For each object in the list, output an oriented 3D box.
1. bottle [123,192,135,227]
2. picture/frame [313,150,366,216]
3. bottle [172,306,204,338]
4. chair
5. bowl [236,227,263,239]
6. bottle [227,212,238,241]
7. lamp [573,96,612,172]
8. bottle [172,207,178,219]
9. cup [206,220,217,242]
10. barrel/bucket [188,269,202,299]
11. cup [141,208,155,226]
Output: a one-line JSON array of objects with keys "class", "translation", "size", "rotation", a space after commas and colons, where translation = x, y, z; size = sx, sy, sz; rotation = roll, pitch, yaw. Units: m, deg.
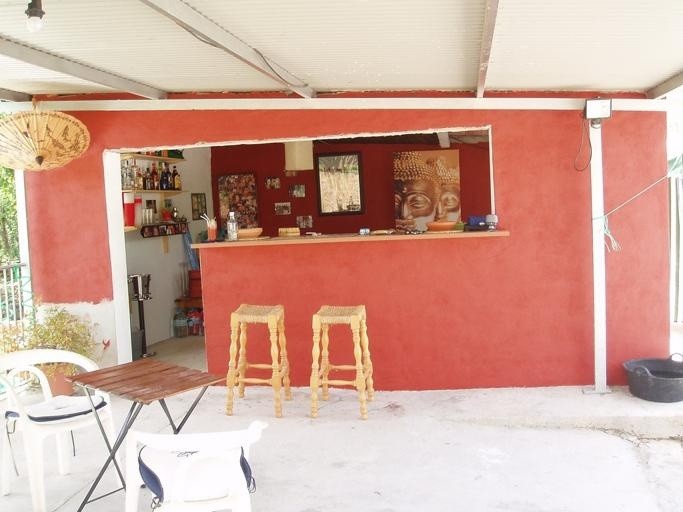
[{"class": "bottle", "translation": [-2.641, -0.599, 7.156], "size": [0.136, 0.388, 0.649], "rotation": [-7, 15, -19]}, {"class": "picture/frame", "translation": [-0.005, -1.129, 8.602], "size": [1.117, 1.244, 0.092], "rotation": [-1, 15, 7]}, {"class": "bottle", "translation": [-2.214, 0.929, 8.316], "size": [0.442, 0.405, 0.331], "rotation": [0, 14, 5]}, {"class": "chair", "translation": [-1.417, 1.252, 4.496], "size": [1.741, 1.462, 1.051], "rotation": [5, 7, 38]}, {"class": "bowl", "translation": [-0.939, -0.232, 5.929], "size": [0.231, 0.146, 0.365], "rotation": [-3, 13, -5]}, {"class": "bottle", "translation": [-1.110, -0.318, 5.835], "size": [0.107, 0.290, 0.304], "rotation": [-5, 14, -10]}, {"class": "lamp", "translation": [2.349, -1.138, 5.387], "size": [0.395, 0.624, 0.159], "rotation": [2, 6, 19]}, {"class": "bottle", "translation": [-2.377, -0.624, 8.252], "size": [0.041, 0.116, 0.095], "rotation": [0, 4, 31]}, {"class": "cup", "translation": [-1.346, -0.280, 5.977], "size": [0.101, 0.208, 0.205], "rotation": [-5, 14, -12]}, {"class": "barrel/bucket", "translation": [-2.115, 0.398, 8.278], "size": [0.176, 0.394, 0.329], "rotation": [-7, 15, -20]}, {"class": "cup", "translation": [-2.586, -0.533, 7.696], "size": [0.202, 0.236, 0.188], "rotation": [1, 2, 0]}]
